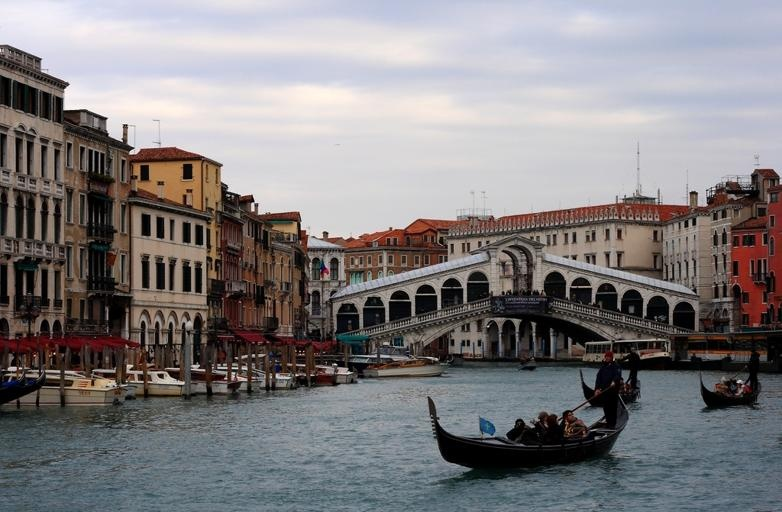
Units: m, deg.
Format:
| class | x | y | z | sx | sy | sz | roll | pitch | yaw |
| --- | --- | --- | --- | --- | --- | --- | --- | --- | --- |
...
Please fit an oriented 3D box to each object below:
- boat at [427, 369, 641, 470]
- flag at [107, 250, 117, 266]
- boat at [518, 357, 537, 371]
| class | x | y | z | sx | sy | sz | roll | pitch | yaw |
| --- | --- | --- | --- | --- | --- | --- | --- | --- | --- |
| boat | 7.168 | 9.436 | 84.402 | 10.994 | 3.528 | 1.415 | 1 | -8 | -19 |
| flag | -21.507 | 0.169 | 122.336 | 0.211 | 1.232 | 1.329 | -9 | -10 | 39 |
| boat | 14.023 | 11.197 | 162.245 | 1.223 | 1.164 | 3.547 | -9 | -8 | -6 |
